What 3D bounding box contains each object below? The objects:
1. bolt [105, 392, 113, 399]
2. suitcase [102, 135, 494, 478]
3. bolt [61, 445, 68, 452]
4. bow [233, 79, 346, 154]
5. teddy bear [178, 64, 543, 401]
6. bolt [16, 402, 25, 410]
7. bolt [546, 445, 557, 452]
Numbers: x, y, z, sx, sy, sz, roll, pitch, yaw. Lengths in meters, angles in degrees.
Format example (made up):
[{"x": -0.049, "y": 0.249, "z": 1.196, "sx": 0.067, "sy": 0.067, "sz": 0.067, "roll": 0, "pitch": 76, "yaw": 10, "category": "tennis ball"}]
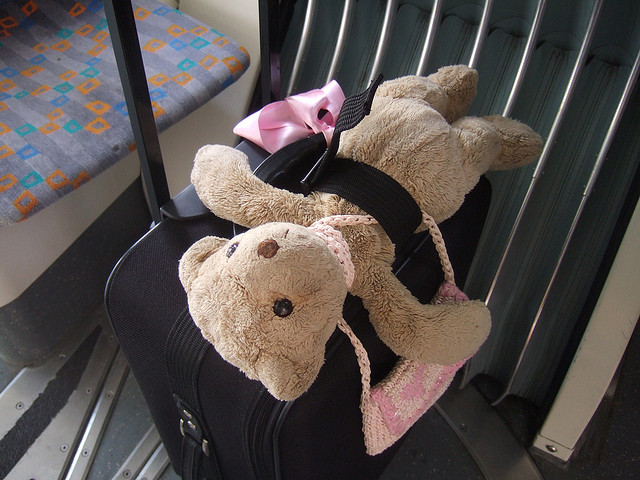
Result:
[{"x": -0.594, "y": 0.438, "z": 1.483, "sx": 0.011, "sy": 0.023, "sz": 0.016, "roll": 0, "pitch": 60, "yaw": 33, "category": "bolt"}, {"x": -0.044, "y": 0.140, "z": 1.038, "sx": 0.294, "sy": 0.595, "sz": 0.576, "roll": 22, "pitch": 54, "yaw": 29, "category": "suitcase"}, {"x": -0.678, "y": 0.552, "z": 1.396, "sx": 0.016, "sy": 0.008, "sz": 0.016, "roll": 0, "pitch": 32, "yaw": -11, "category": "bolt"}, {"x": -0.046, "y": -0.291, "z": 1.296, "sx": 0.321, "sy": 0.098, "sz": 0.190, "roll": -21, "pitch": 37, "yaw": -28, "category": "bow"}, {"x": 0.094, "y": -0.055, "z": 0.985, "sx": 0.701, "sy": 0.431, "sz": 0.428, "roll": -5, "pitch": 33, "yaw": -19, "category": "teddy bear"}, {"x": -0.828, "y": 0.457, "z": 1.453, "sx": 0.019, "sy": 0.007, "sz": 0.018, "roll": 27, "pitch": 37, "yaw": 28, "category": "bolt"}, {"x": 0.612, "y": 0.550, "z": 1.388, "sx": 0.027, "sy": 0.009, "sz": 0.015, "roll": -2, "pitch": 64, "yaw": -55, "category": "bolt"}]
